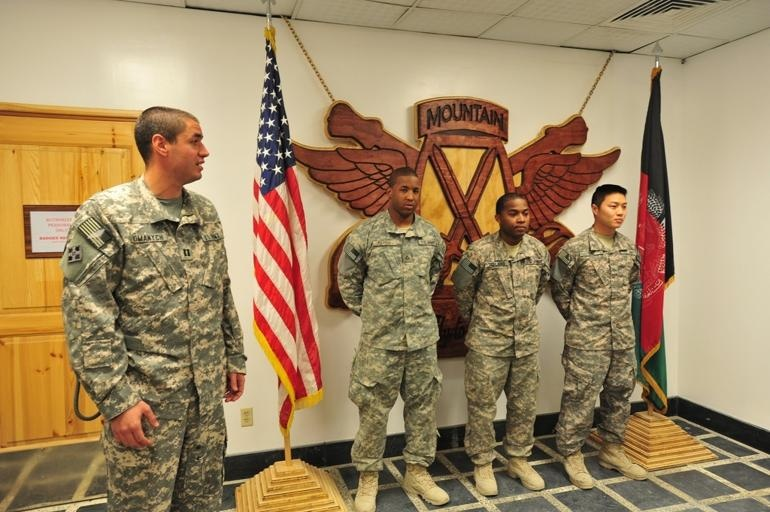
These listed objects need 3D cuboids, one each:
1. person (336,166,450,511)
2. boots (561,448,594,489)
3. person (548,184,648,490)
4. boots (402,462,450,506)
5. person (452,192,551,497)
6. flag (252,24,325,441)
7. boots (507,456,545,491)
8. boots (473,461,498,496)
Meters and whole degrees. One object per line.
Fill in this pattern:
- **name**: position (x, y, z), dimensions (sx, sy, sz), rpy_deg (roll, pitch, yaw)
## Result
- **person**: position (0.071, 0.572, 4.308), dimensions (0.785, 2.392, 0.404), rpy_deg (-2, 5, -5)
- **boots**: position (1.469, 1.602, 4.566), dimensions (0.114, 0.129, 0.321), rpy_deg (-5, 11, -3)
- **person**: position (1.649, 0.562, 4.635), dimensions (0.695, 2.208, 0.387), rpy_deg (0, 5, 10)
- **boots**: position (0.278, 1.631, 4.413), dimensions (0.410, 0.192, 0.163), rpy_deg (18, 17, 36)
- **person**: position (0.875, 0.526, 4.525), dimensions (0.700, 1.978, 0.370), rpy_deg (0, 6, 11)
- **flag**: position (-0.726, -0.186, 4.204), dimensions (0.395, 2.843, 0.368), rpy_deg (2, 6, 31)
- **boots**: position (1.071, 1.613, 4.538), dimensions (0.132, 0.170, 0.370), rpy_deg (0, 5, -26)
- **boots**: position (0.745, 1.636, 4.423), dimensions (0.102, 0.123, 0.266), rpy_deg (0, -3, -4)
